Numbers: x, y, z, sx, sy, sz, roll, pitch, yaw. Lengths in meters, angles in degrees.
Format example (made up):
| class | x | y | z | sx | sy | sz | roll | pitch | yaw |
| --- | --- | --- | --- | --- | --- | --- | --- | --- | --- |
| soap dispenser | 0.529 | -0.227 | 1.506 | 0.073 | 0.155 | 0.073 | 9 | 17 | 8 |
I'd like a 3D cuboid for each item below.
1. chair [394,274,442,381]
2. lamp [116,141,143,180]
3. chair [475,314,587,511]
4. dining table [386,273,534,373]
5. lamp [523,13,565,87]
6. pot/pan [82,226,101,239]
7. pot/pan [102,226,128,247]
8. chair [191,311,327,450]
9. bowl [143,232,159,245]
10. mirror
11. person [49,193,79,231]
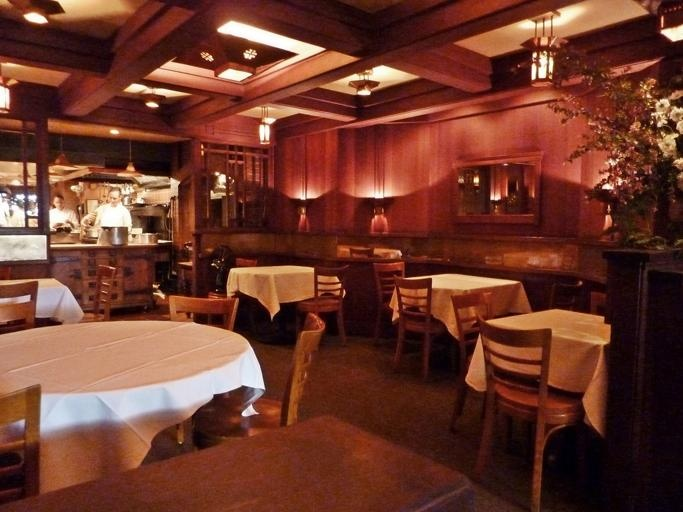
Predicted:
| class | x | y | z | sx | sy | sz | roll | pitch | yaw |
| --- | --- | --- | --- | --- | --- | --- | --- | --- | --- |
| chair | 0.783 | 0.678 | 5.244 | 0.485 | 0.987 | 0.805 | -1 | 11 | 1 |
| lamp | -4.127 | -1.820 | 10.087 | 0.377 | 0.714 | 2.646 | -5 | 11 | -21 |
| chair | 1.155 | 0.885 | 3.216 | 0.622 | 1.057 | 0.809 | 0 | 11 | 5 |
| dining table | 1.221 | 0.453 | 5.405 | 1.284 | 0.343 | 1.240 | -3 | 4 | -37 |
| lamp | 1.805 | -1.857 | 4.646 | 0.303 | 0.608 | 0.330 | -2 | 3 | -37 |
| pot/pan | -4.500 | -0.419 | 9.386 | 0.434 | 0.204 | 0.536 | 0 | 0 | -38 |
| pot/pan | -3.551 | -0.308 | 8.200 | 0.345 | 0.241 | 0.254 | 1 | 0 | -11 |
| chair | -0.474 | 0.831 | 2.962 | 0.716 | 0.916 | 0.639 | 0 | 1 | 3 |
| bowl | -3.144 | -0.280 | 8.604 | 0.217 | 0.146 | 0.214 | 1 | -3 | 0 |
| mirror | 2.011 | -0.860 | 6.619 | 0.079 | 0.726 | 1.068 | -1 | 3 | -43 |
| person | -5.472 | -0.784 | 10.133 | 0.559 | 0.737 | 0.585 | -6 | 4 | -14 |
